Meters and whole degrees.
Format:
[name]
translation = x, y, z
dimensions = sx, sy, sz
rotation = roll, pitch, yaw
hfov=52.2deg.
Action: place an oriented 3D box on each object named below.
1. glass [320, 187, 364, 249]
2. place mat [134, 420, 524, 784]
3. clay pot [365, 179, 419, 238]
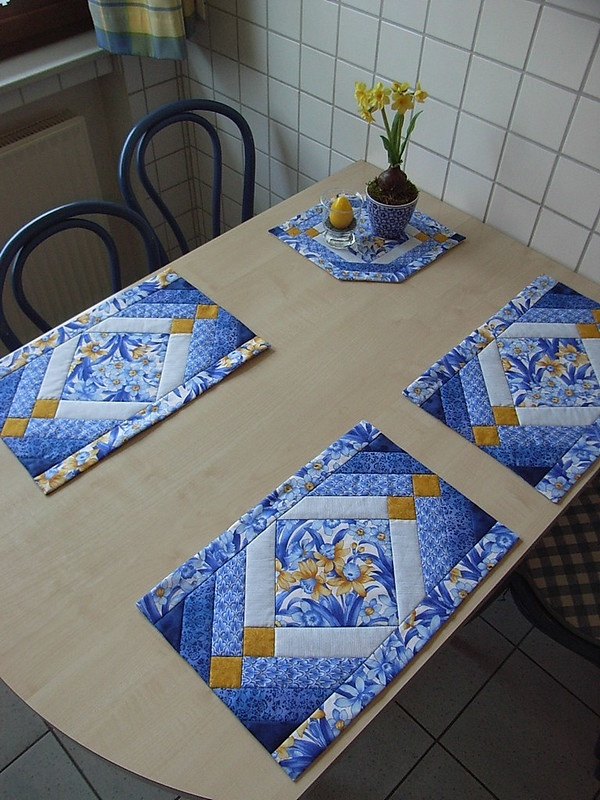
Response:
[glass]
translation = 0.085, -0.378, 1.281
dimensions = 0.082, 0.094, 0.081
rotation = 12, 40, 13
[place mat]
translation = 0.046, 0.213, 0.786
dimensions = 0.420, 0.043, 0.279
rotation = -32, 52, -34
[clay pot]
translation = 0.178, -0.369, 1.239
dimensions = 0.106, 0.087, 0.114
rotation = 0, 56, 0
